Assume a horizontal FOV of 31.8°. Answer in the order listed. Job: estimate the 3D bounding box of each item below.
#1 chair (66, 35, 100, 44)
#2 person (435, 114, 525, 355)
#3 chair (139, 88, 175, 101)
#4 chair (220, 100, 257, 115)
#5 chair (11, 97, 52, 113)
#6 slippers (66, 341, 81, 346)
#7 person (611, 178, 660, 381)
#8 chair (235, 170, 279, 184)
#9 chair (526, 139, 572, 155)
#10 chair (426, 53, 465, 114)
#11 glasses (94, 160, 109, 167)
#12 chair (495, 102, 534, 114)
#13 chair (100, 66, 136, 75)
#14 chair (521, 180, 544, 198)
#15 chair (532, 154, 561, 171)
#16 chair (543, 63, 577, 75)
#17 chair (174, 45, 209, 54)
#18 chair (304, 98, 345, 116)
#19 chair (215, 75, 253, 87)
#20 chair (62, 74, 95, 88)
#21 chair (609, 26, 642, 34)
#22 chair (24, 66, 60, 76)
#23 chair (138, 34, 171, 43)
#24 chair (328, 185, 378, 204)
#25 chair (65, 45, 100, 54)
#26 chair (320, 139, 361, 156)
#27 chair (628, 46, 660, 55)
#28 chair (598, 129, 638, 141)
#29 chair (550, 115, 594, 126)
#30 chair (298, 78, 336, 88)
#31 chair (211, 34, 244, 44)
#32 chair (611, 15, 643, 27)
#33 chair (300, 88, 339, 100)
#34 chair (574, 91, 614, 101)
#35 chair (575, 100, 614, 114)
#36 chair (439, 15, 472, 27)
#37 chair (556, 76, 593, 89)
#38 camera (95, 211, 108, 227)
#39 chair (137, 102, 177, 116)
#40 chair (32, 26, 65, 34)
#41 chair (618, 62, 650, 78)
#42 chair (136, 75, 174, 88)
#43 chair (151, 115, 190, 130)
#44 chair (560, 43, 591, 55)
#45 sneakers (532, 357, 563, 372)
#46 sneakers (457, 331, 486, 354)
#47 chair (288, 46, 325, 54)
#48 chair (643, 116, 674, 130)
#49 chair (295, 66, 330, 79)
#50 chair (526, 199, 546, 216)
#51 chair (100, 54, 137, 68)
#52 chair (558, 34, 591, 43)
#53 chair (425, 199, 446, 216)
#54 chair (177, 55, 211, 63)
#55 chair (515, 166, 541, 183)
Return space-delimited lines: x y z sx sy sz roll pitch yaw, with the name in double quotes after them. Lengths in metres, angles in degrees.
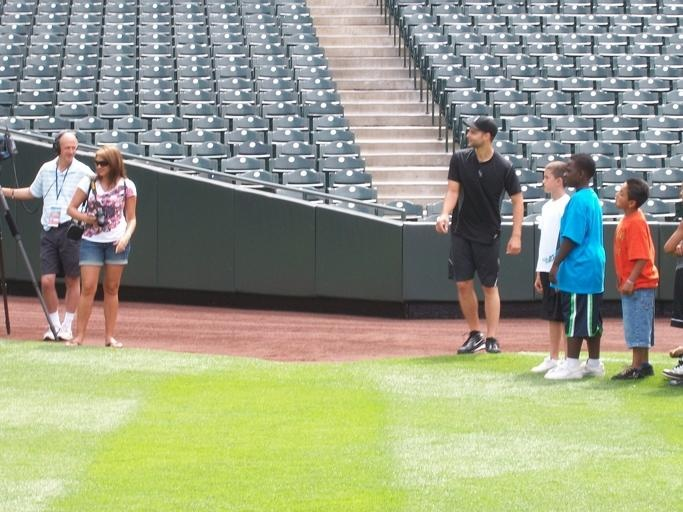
-4.116 -3.447 19.028 0.517 0.196 0.375 -3 2 -12 "chair"
1.305 -0.196 11.151 0.757 2.200 0.444 -2 2 9 "person"
-2.643 -2.291 17.170 0.504 0.217 0.221 -2 2 -6 "chair"
-1.390 -2.001 16.451 0.515 0.209 0.438 -2 2 -5 "chair"
-4.274 -2.039 16.620 0.527 0.213 0.468 -3 2 -10 "chair"
-2.499 0.814 11.198 0.052 0.027 0.107 -6 -13 24 "slippers"
2.507 0.195 10.279 0.403 1.716 0.303 -2 2 12 "person"
-0.960 -0.982 14.756 0.307 0.122 0.284 5 9 26 "chair"
2.703 -1.422 15.724 0.544 0.214 0.504 2 4 7 "chair"
1.541 -2.676 17.856 0.822 0.974 0.819 0 0 -2 "chair"
-2.210 -0.855 11.045 0.127 0.063 0.072 -2 2 7 "glasses"
2.425 -2.043 16.656 0.510 0.175 0.202 -3 2 -20 "chair"
-3.324 -2.744 17.833 0.492 0.181 0.241 -3 2 -11 "chair"
2.368 -0.808 14.775 0.317 0.300 0.299 2 9 11 "chair"
2.632 -1.194 15.356 0.277 0.333 0.254 0 -3 0 "chair"
3.301 -2.767 17.964 0.469 0.194 0.169 -3 2 -19 "chair"
-2.307 -3.188 18.585 0.243 0.111 0.327 5 7 35 "chair"
-0.257 -2.041 16.622 0.546 0.197 0.291 -2 2 7 "chair"
-1.545 -2.516 17.461 0.515 0.180 0.231 -3 2 -9 "chair"
-3.852 -2.522 17.499 0.515 0.213 0.324 -3 2 -13 "chair"
4.684 -3.709 19.680 0.539 0.144 0.197 -3 2 -22 "chair"
-4.438 -2.715 17.717 0.503 0.174 0.218 -3 2 -14 "chair"
-2.972 -3.461 19.122 0.500 0.178 0.311 -3 2 -10 "chair"
0.164 -0.757 14.322 0.482 0.323 0.236 1 -3 -4 "chair"
-4.047 -3.220 18.682 0.501 0.178 0.256 -3 2 -15 "chair"
-0.019 -1.378 15.403 0.506 0.195 0.380 -2 2 -3 "chair"
4.743 -3.209 18.708 0.220 0.096 0.309 1 1 26 "chair"
3.736 -1.630 16.283 0.462 0.194 0.113 -2 2 9 "chair"
3.210 -1.838 16.431 0.592 0.176 0.130 -3 2 -12 "chair"
-0.352 -2.522 17.563 0.521 0.167 0.150 -2 2 -3 "chair"
-1.812 -3.455 19.118 0.518 0.204 0.277 -3 2 -9 "chair"
4.738 -3.911 19.897 0.273 0.126 0.369 3 7 17 "chair"
-0.296 -2.295 17.119 0.525 0.178 0.198 -2 2 -5 "chair"
3.712 -2.295 17.233 0.654 0.168 0.265 -3 2 -21 "chair"
3.638 -2.058 16.863 0.583 0.182 0.283 -3 2 -21 "chair"
1.915 -3.907 19.851 0.577 0.218 0.270 -3 2 -14 "chair"
3.492 -2.508 17.488 0.651 0.227 0.277 -3 2 -28 "chair"
-2.200 -0.342 10.978 0.135 0.176 0.120 2 -10 -17 "camera"
-2.512 -2.001 16.471 0.515 0.216 0.392 -3 2 -13 "chair"
-4.757 -3.690 19.500 0.510 0.186 0.227 -3 2 -15 "chair"
4.376 -2.748 17.947 0.437 0.216 0.306 -2 2 9 "chair"
-2.703 -2.516 17.498 0.485 0.175 0.276 -3 2 -12 "chair"
-2.349 -1.783 16.188 0.533 0.228 0.342 -2 2 4 "chair"
3.658 -3.204 18.650 0.238 0.113 0.335 1 3 23 "chair"
1.804 0.959 10.595 0.299 0.109 0.096 -15 2 2 "sneakers"
1.247 0.795 11.140 0.346 0.201 0.134 -13 -12 11 "sneakers"
-0.546 -3.216 18.691 0.519 0.158 0.186 -2 2 -6 "chair"
4.386 -1.810 16.460 0.318 0.107 0.221 1 0 20 "chair"
-0.420 -2.740 17.907 0.532 0.184 0.252 -2 2 -4 "chair"
2.335 -0.594 14.352 0.205 0.247 0.196 1 1 26 "chair"
-3.399 -2.983 18.270 0.508 0.210 0.433 -3 2 -10 "chair"
3.740 -3.438 18.989 0.307 0.101 0.207 2 2 2 "chair"
1.103 -0.575 14.107 0.215 0.125 0.205 -2 2 1 "chair"
-2.248 -2.974 18.255 0.490 0.166 0.225 -3 2 -17 "chair"
2.344 -1.010 15.010 0.281 0.296 0.229 1 3 -3 "chair"
